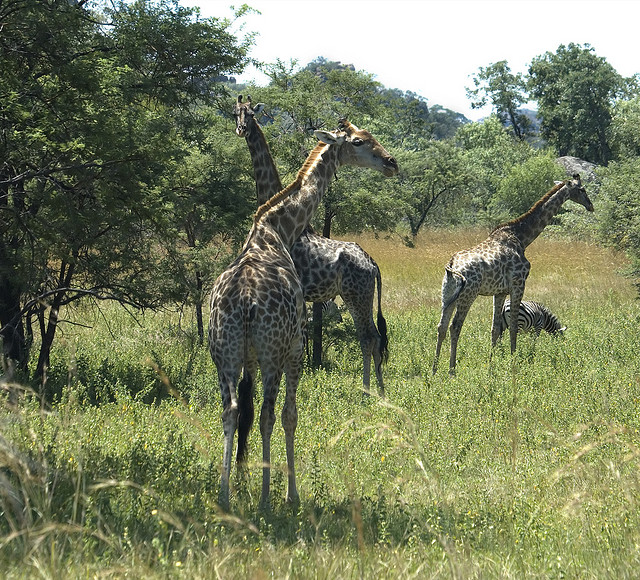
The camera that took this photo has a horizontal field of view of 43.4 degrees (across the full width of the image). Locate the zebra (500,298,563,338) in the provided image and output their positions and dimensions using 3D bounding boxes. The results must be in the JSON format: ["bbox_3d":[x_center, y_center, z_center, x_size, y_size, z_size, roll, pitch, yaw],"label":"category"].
[{"bbox_3d":[4.353,0.729,16.247,0.421,1.089,1.532,-10,11,-39],"label":"zebra"}]

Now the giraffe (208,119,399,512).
[{"bbox_3d":[-0.228,-0.119,9.686,1.146,4.081,3.981,2,6,26],"label":"giraffe"}]
